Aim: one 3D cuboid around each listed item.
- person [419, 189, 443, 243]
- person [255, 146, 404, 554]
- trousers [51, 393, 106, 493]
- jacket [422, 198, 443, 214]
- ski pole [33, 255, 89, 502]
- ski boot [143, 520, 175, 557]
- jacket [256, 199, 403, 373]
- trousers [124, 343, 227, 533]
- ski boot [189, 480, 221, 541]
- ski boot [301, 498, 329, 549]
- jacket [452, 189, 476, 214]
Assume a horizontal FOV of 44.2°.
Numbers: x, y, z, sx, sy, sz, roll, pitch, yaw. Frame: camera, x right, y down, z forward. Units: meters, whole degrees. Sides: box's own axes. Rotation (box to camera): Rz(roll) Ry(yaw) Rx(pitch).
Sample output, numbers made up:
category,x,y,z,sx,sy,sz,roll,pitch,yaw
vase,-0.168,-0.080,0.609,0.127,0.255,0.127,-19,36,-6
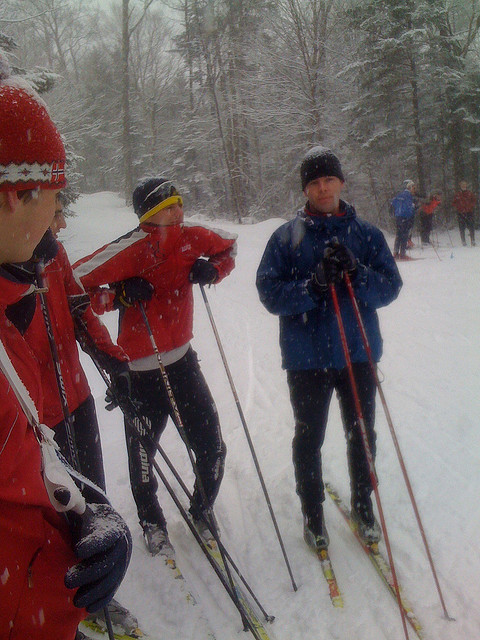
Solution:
category,x,y,z,sx,sy,sz,roll,pitch,yaw
person,4.506,-2.411,14.061,0.436,1.264,1.806,-1,15,17
person,0.461,0.161,3.001,0.718,2.008,0.616,-4,11,1
trousers,-0.726,0.552,2.682,0.074,0.408,0.181,-17,-1,41
jacket,4.361,-2.599,13.530,0.283,0.406,0.835,-4,15,7
ski pole,-0.666,0.209,2.177,0.055,0.993,0.047,-13,-2,-38
ski boot,-0.423,1.132,3.028,0.079,0.267,0.094,-10,-14,-43
jacket,0.452,-0.117,3.074,0.652,1.020,0.488,-1,-20,6
trousers,-0.348,0.643,3.273,0.508,1.487,0.360,-9,26,-8
ski boot,-0.185,0.979,3.031,0.075,0.261,0.257,-23,-12,-15
ski boot,0.384,1.049,3.021,0.130,0.257,0.125,-3,12,8
jacket,4.901,-2.590,12.959,0.440,0.526,0.386,3,15,31
